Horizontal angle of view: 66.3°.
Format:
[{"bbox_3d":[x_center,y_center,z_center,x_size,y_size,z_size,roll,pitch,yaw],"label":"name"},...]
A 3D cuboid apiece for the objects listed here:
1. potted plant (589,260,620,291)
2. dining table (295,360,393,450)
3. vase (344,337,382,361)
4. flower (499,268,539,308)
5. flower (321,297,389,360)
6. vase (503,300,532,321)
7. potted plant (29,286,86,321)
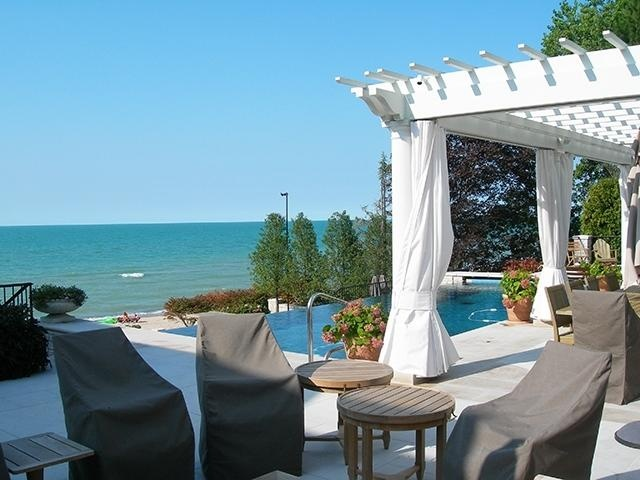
[{"bbox_3d":[5.433,0.681,9.390,0.407,0.482,0.481,-2,1,6],"label":"potted plant"},{"bbox_3d":[0.191,1.231,3.867,0.684,0.512,0.693,-1,6,2],"label":"dining table"},{"bbox_3d":[0.552,1.371,6.053,0.339,0.253,0.316,-2,-2,45],"label":"vase"},{"bbox_3d":[3.587,0.864,8.901,0.578,0.431,0.587,-9,11,-26],"label":"flower"},{"bbox_3d":[0.495,1.103,6.352,0.733,0.701,0.750,-6,5,24],"label":"flower"},{"bbox_3d":[3.600,1.251,8.952,0.413,0.313,0.419,0,-2,0],"label":"vase"},{"bbox_3d":[-4.880,1.161,9.332,0.730,0.478,0.780,0,-5,15],"label":"potted plant"}]
